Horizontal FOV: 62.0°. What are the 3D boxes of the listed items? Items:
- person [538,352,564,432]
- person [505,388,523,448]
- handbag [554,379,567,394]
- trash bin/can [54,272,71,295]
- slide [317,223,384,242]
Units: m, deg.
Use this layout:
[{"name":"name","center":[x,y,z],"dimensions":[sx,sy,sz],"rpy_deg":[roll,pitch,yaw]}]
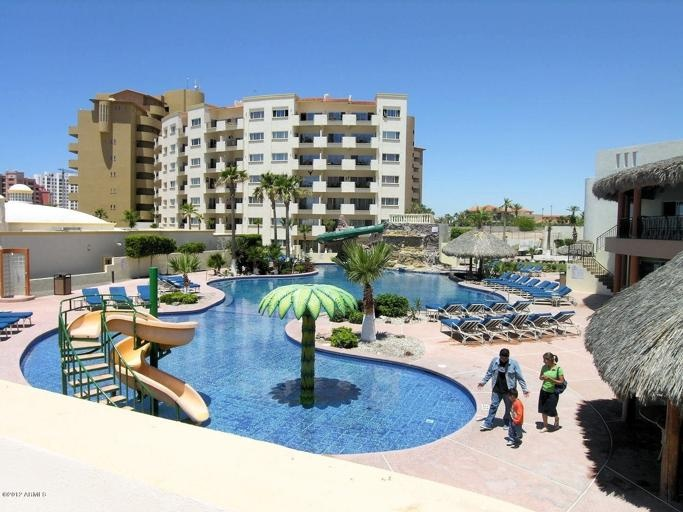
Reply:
[{"name":"person","center":[4.967,3.099,13.370],"dimensions":[0.589,1.855,0.707],"rpy_deg":[1,9,18]},{"name":"person","center":[3.931,3.572,12.782],"dimensions":[0.337,1.171,0.719],"rpy_deg":[0,9,16]},{"name":"handbag","center":[5.130,3.012,13.222],"dimensions":[0.173,0.345,0.390],"rpy_deg":[4,10,34]},{"name":"trash bin/can","center":[-14.535,1.522,29.800],"dimensions":[0.843,1.019,0.809],"rpy_deg":[-6,9,-27]},{"name":"slide","center":[1.202,-2.177,56.750],"dimensions":[6.588,1.822,2.889],"rpy_deg":[1,9,19]}]
